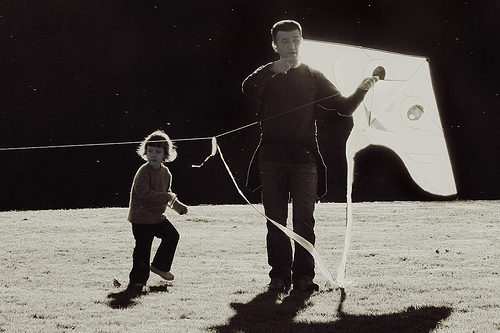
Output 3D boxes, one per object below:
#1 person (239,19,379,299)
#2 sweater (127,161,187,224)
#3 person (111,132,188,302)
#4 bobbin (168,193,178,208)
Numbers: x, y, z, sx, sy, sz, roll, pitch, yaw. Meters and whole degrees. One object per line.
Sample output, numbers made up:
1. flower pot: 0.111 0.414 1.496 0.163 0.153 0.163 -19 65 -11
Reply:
1. person: 0.344 -0.056 5.831 0.890 2.059 0.974 2 -3 -9
2. sweater: -0.747 0.197 5.587 0.467 0.513 0.401 -2 -6 24
3. person: -0.734 0.351 5.527 0.496 1.251 0.386 3 -4 -16
4. bobbin: -0.568 0.259 5.567 0.067 0.097 0.023 13 -6 45
